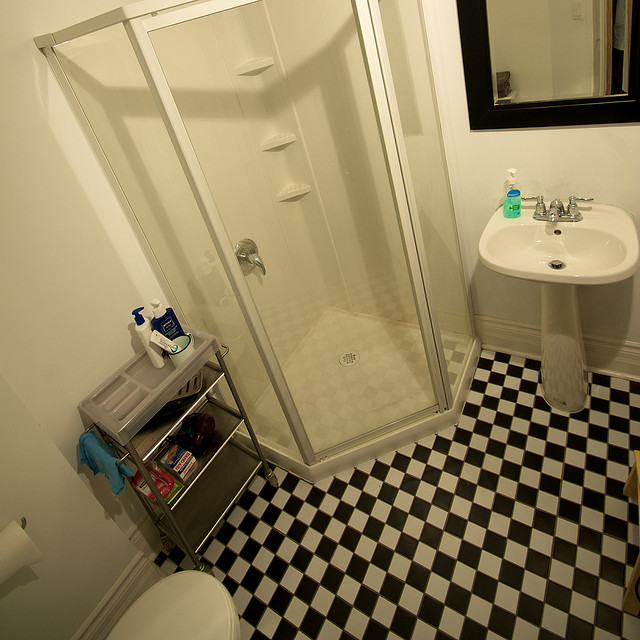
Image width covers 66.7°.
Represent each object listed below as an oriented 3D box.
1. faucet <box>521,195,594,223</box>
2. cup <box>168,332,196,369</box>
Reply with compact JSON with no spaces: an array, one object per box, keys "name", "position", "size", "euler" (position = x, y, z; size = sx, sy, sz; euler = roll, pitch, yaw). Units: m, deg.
[{"name":"faucet","position":[0.951,-0.438,1.925],"size":[0.209,0.108,0.073],"euler":[-4,34,27]},{"name":"cup","position":[-0.495,0.101,1.813],"size":[0.114,0.082,0.075],"euler":[-31,47,-17]}]
